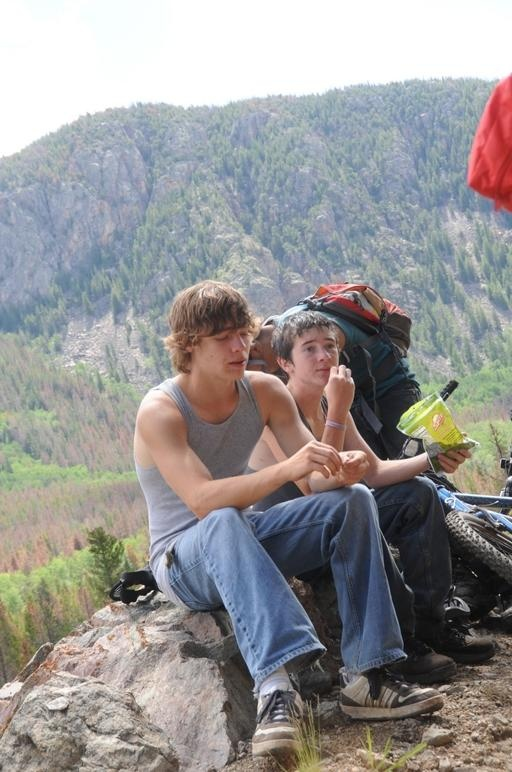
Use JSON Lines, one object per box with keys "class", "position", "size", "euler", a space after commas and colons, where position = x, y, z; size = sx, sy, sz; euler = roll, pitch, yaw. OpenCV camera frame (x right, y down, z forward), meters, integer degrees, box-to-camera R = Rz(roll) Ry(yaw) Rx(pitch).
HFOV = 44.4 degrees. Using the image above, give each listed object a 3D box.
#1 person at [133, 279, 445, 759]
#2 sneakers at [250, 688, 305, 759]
{"class": "person", "position": [0.049, 0.397, 2.628], "size": [0.928, 1.738, 1.241], "euler": [-8, 2, -22]}
{"class": "sneakers", "position": [0.071, 1.131, 2.056], "size": [0.176, 0.214, 0.213], "euler": [-8, 1, -1]}
